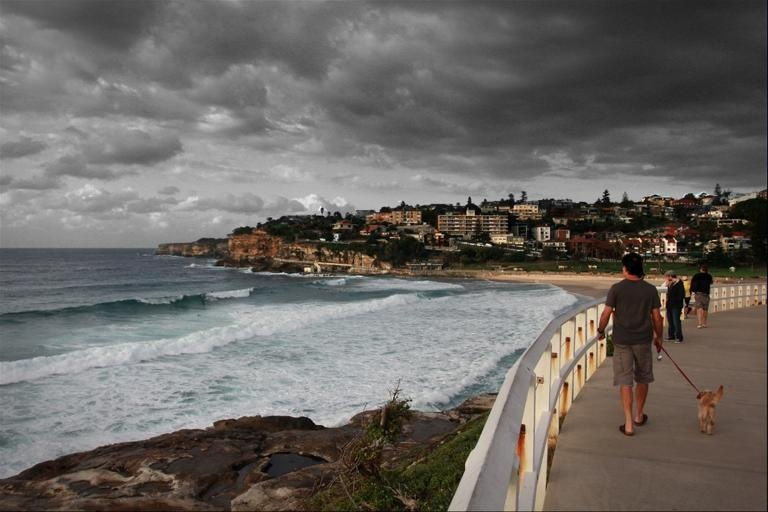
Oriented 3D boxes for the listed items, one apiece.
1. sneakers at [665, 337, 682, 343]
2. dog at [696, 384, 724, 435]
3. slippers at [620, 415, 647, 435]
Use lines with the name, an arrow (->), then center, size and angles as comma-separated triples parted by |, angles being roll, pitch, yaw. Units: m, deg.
sneakers -> 6.706, 1.954, 10.160 | 0.356, 0.085, 0.269 | -9, -1, 44
dog -> 4.442, 2.028, 5.903 | 0.325, 0.588, 0.860 | 4, -11, 28
slippers -> 3.346, 2.278, 5.856 | 0.179, 0.103, 0.453 | -15, 5, 42
